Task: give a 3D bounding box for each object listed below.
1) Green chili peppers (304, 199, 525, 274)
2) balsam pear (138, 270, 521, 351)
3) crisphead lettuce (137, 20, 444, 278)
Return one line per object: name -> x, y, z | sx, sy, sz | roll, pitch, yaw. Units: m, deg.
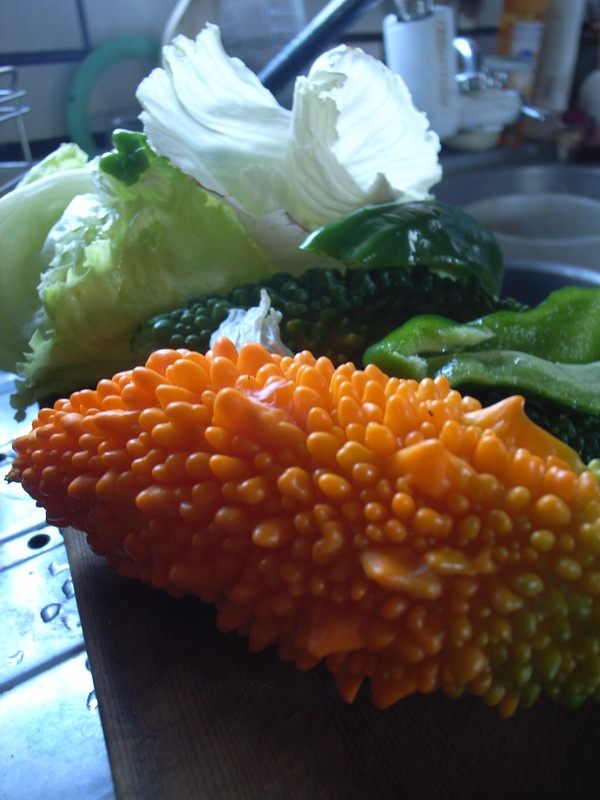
Green chili peppers -> 0.074, -0.110, 0.552 | 0.161, 0.065, 0.130 | -6, 16, -27
balsam pear -> 0.030, -0.095, 0.626 | 0.226, 0.073, 0.218 | 10, 14, 37
crisphead lettuce -> -0.029, -0.207, 0.709 | 0.245, 0.226, 0.202 | -10, 24, -24
